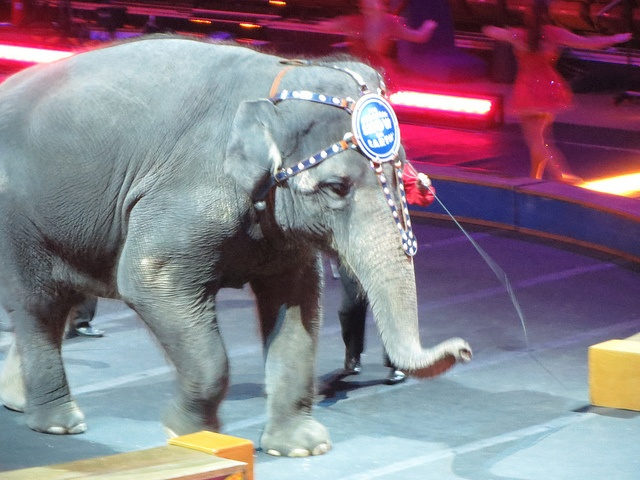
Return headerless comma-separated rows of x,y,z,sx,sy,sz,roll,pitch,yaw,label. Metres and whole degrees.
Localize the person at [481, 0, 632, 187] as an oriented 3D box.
2.188,-1.418,7.684,0.837,1.788,0.646,2,17,9,person
